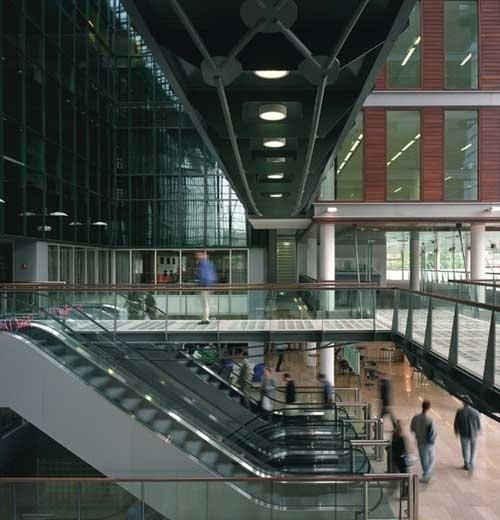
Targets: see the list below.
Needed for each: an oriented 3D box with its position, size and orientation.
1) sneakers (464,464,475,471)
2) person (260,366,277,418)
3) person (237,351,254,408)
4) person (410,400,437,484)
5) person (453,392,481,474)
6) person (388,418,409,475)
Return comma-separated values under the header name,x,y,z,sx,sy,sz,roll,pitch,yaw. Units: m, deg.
name,x,y,z,sx,sy,sz,roll,pitch,yaw
sneakers,4.583,4.360,11.834,0.164,0.145,0.094,-20,23,-30
person,0.431,3.196,13.932,0.361,0.991,0.584,1,-8,-1
person,-0.115,3.010,13.933,0.355,1.098,0.807,1,-8,-1
person,3.420,3.600,11.158,0.499,1.639,0.965,-1,-8,15
person,4.501,3.685,11.688,0.518,1.450,1.166,-2,-8,19
person,2.818,3.590,10.729,0.353,1.004,0.692,-1,-8,14
